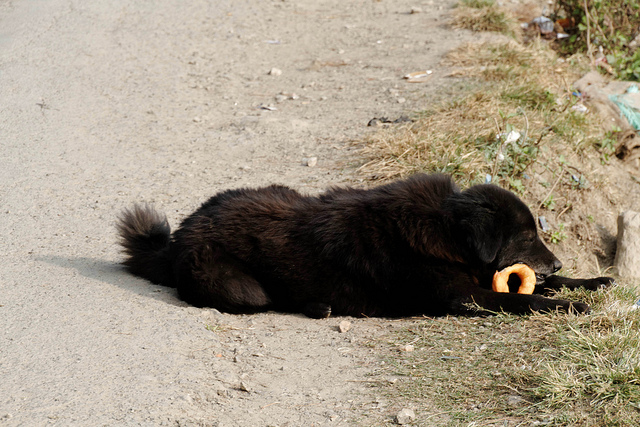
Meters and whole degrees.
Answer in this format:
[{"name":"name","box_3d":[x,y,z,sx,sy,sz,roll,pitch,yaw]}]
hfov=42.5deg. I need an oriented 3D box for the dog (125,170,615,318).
[{"name":"dog","box_3d":[0.463,0.505,9.317,4.772,1.177,1.540,-2,55,12]}]
